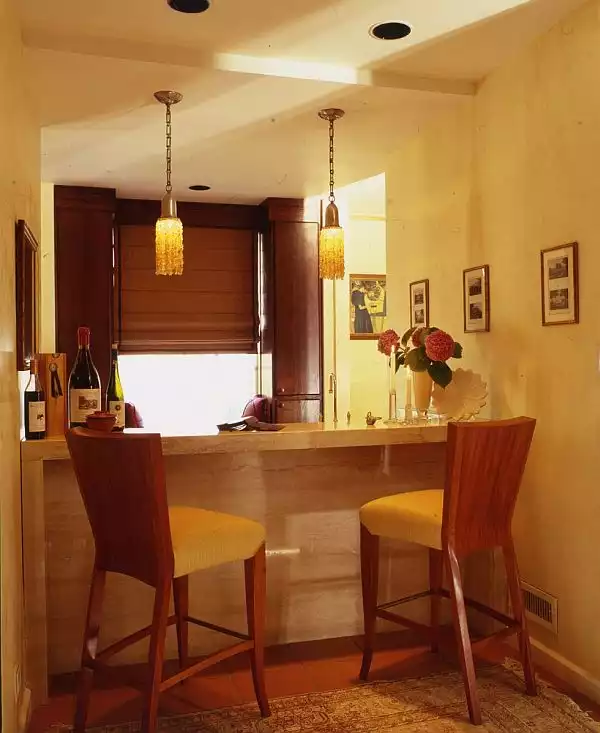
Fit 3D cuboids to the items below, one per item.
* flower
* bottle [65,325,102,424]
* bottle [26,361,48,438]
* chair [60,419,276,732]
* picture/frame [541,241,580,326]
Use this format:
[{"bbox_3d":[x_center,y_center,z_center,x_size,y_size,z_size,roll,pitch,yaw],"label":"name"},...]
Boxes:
[{"bbox_3d":[0.504,-0.039,2.847,0.336,0.256,0.285,0,0,32],"label":"flower"},{"bbox_3d":[-0.741,0.037,2.324,0.103,0.341,0.229,-1,0,-19],"label":"bottle"},{"bbox_3d":[-0.905,0.110,2.309,0.071,0.254,0.220,-1,0,-23],"label":"bottle"},{"bbox_3d":[-0.384,0.620,2.004,0.367,0.895,0.527,0,0,39],"label":"chair"},{"bbox_3d":[0.913,-0.293,2.380,0.016,0.269,0.166,-3,2,-24],"label":"picture/frame"}]
